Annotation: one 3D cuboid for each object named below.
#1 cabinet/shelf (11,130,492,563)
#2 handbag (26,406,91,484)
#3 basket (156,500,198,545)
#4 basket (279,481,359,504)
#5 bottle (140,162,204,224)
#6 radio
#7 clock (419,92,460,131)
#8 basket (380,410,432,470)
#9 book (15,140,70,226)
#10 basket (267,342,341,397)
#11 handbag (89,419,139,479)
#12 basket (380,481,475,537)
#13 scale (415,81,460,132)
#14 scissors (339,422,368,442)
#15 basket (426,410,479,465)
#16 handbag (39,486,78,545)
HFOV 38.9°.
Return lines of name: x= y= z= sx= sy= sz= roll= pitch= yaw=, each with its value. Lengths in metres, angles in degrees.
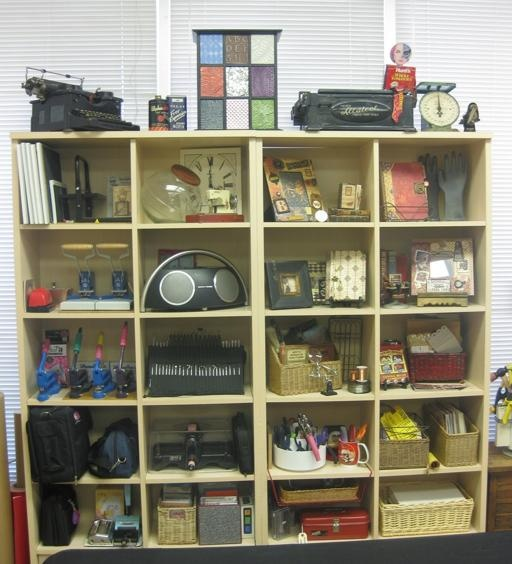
cabinet/shelf: x=-0.036 y=0.265 z=3.072 sx=1.798 sy=1.662 sz=0.420 roll=-1 pitch=6 yaw=0
handbag: x=-0.809 y=0.671 z=3.153 sx=0.295 sy=0.376 sz=0.290 roll=0 pitch=0 yaw=-4
basket: x=-0.330 y=1.009 z=3.036 sx=0.161 sy=0.156 sz=0.157 roll=0 pitch=-3 yaw=-2
basket: x=0.267 y=0.896 z=3.089 sx=0.230 sy=0.055 sz=0.143 roll=-1 pitch=-15 yaw=-3
bottle: x=-0.329 y=-0.370 z=3.077 sx=0.294 sy=0.245 sz=0.130 roll=-11 pitch=14 yaw=-37
radio: x=-0.276 y=0.000 z=3.104 sx=0.475 sy=0.275 sz=0.252 roll=-3 pitch=2 yaw=-34
clock: x=0.773 y=-0.722 z=3.083 sx=0.208 sy=0.211 sz=0.042 roll=-3 pitch=-9 yaw=-3
basket: x=0.638 y=0.684 z=3.167 sx=0.221 sy=0.138 sz=0.225 roll=-1 pitch=1 yaw=0
book: x=-0.884 y=-0.399 z=2.966 sx=0.106 sy=0.289 sz=0.305 roll=-6 pitch=8 yaw=0
basket: x=0.186 y=0.385 z=3.210 sx=0.207 sy=0.264 sz=0.357 roll=-5 pitch=-6 yaw=43
handbag: x=-0.584 y=0.711 z=3.079 sx=0.154 sy=0.225 sz=0.084 roll=-3 pitch=-26 yaw=4
basket: x=0.719 y=0.981 z=3.156 sx=0.297 sy=0.109 sz=0.208 roll=-2 pitch=-1 yaw=-4
scale: x=0.793 y=-0.776 z=3.106 sx=0.184 sy=0.149 sz=0.233 roll=-4 pitch=-36 yaw=18
scissors: x=0.425 y=0.654 z=3.179 sx=0.074 sy=0.121 sz=0.125 roll=-2 pitch=4 yaw=-25
basket: x=0.853 y=0.665 z=3.142 sx=0.151 sy=0.170 sz=0.265 roll=-1 pitch=2 yaw=-3
handbag: x=-0.845 y=0.981 z=3.103 sx=0.159 sy=0.214 sz=0.201 roll=-4 pitch=12 yaw=-8
